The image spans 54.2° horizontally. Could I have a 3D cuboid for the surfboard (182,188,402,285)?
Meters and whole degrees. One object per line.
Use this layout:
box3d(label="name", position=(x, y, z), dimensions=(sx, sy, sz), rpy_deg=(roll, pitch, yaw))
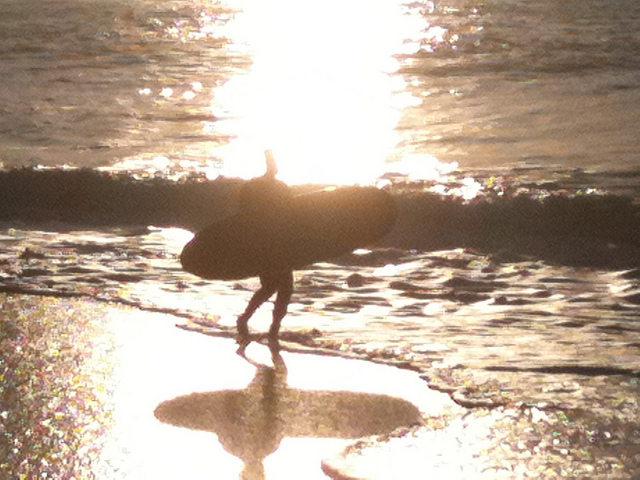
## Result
box3d(label="surfboard", position=(-0.189, -0.025, 5.746), dimensions=(1.388, 0.236, 1.339), rpy_deg=(-14, 2, -41))
